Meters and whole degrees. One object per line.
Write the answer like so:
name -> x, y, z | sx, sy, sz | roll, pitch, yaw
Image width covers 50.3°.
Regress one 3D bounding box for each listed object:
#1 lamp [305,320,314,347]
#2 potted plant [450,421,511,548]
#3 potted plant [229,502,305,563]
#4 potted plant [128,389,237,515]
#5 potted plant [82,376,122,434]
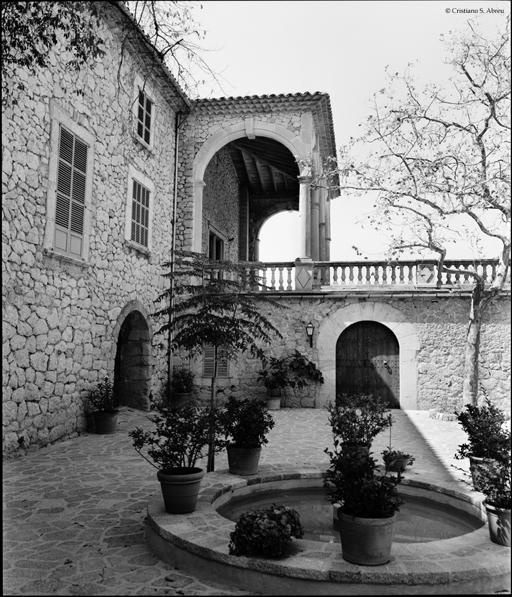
lamp -> 1.398, 0.909, 13.976 | 0.242, 0.643, 0.270 | 0, -5, 4
potted plant -> 2.056, 1.558, 4.762 | 0.312, 0.853, 1.138 | -2, -5, 20
potted plant -> 0.074, 1.768, 4.182 | 0.508, 0.278, 0.590 | -1, -5, 13
potted plant -> -0.907, 1.802, 6.401 | 1.166, 1.439, 1.062 | 3, -35, -7
potted plant -> -2.915, 1.971, 10.174 | 0.615, 1.010, 0.582 | 2, -5, -18
